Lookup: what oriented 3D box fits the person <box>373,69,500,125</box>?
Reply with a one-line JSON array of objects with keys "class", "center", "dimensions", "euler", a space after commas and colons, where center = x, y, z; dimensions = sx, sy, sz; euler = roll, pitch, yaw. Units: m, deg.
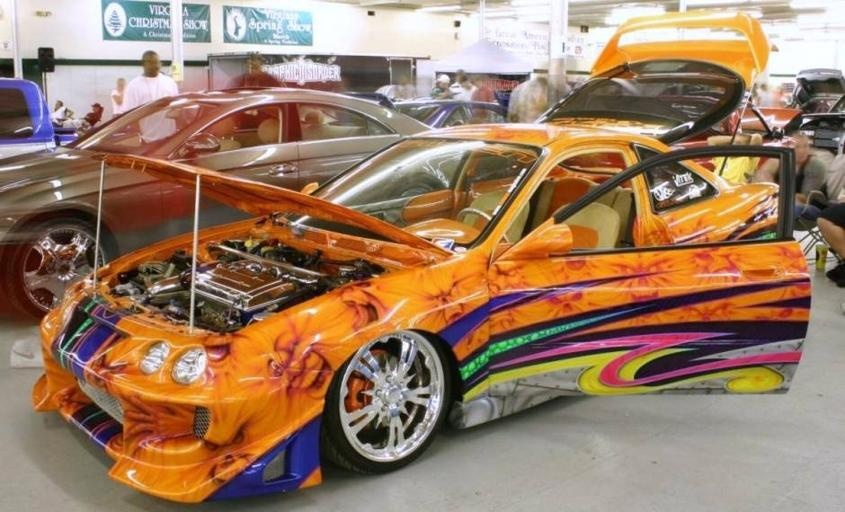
[{"class": "person", "center": [0.565, -2.640, 9.896], "dimensions": [2.553, 0.651, 1.085], "euler": [-1, 9, -35]}]

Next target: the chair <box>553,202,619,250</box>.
[{"class": "chair", "center": [1.226, -0.239, 4.117], "dimensions": [0.382, 0.415, 0.412], "euler": [10, 17, 23]}]

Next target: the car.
[{"class": "car", "center": [0.789, 0.035, 3.902], "dimensions": [5.808, 1.472, 2.267], "euler": [-6, 20, -15]}]
